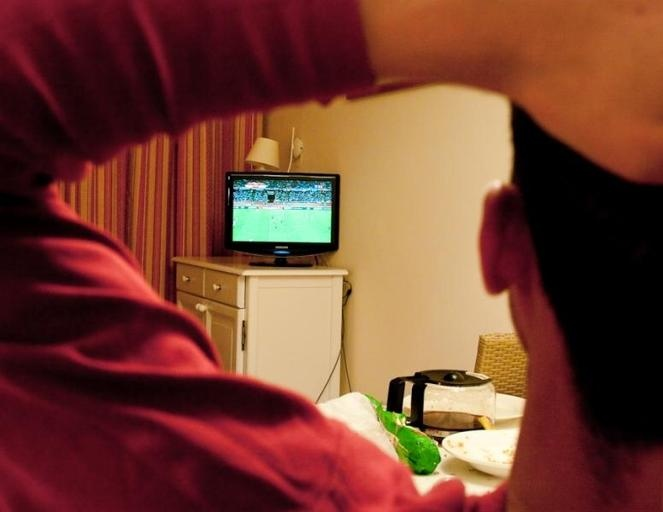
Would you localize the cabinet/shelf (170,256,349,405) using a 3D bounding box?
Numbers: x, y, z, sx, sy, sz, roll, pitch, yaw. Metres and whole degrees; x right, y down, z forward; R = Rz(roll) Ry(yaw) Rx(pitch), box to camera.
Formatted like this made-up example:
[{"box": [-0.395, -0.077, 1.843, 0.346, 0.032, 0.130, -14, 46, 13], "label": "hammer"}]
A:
[{"box": [-0.338, 0.274, 2.091, 0.499, 0.576, 0.350, 11, 15, 40], "label": "cabinet/shelf"}]

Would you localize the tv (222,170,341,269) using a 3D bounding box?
[{"box": [-0.186, -0.142, 2.025, 0.344, 0.286, 0.103, 0, -2, 4], "label": "tv"}]

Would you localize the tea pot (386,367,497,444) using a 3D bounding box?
[{"box": [0.170, 0.212, 0.829, 0.128, 0.095, 0.097, 0, 1, -17], "label": "tea pot"}]
